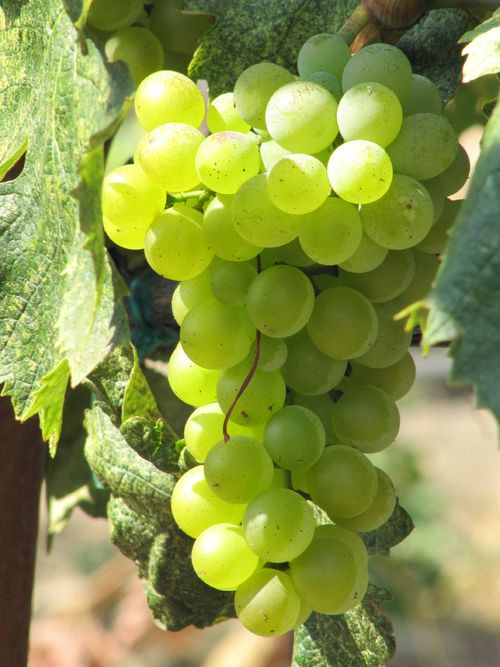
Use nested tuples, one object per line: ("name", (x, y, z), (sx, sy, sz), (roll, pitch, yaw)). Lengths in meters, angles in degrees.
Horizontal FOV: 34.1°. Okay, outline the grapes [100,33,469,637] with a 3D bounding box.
("grapes", (0.016, -0.016, 0.471), (0.156, 0.160, 0.363), (-2, 86, 3))
